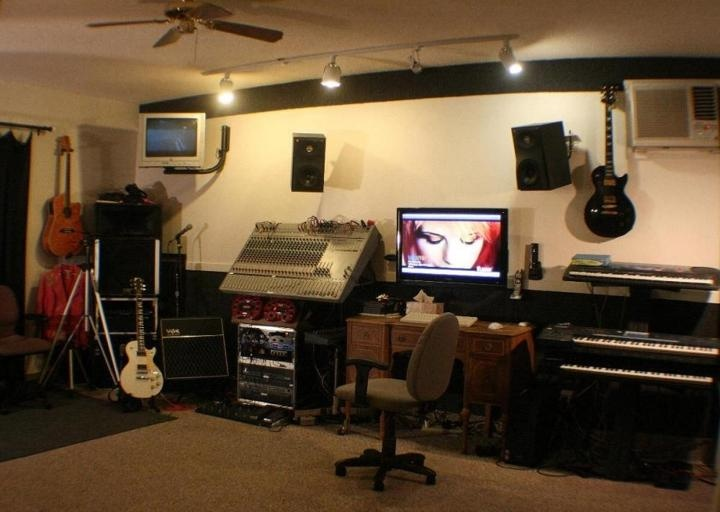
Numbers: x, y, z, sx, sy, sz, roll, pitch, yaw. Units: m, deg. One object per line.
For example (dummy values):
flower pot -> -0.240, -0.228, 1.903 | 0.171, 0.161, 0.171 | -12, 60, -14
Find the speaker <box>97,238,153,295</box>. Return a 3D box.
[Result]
speaker -> -2.749, 0.135, 7.390 | 0.637, 0.614, 0.301 | 1, -5, -15

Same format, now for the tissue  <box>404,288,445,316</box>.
tissue  -> 0.643, 0.443, 6.437 | 0.281, 0.173, 0.281 | 1, 0, 30

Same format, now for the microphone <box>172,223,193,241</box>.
microphone -> -2.243, -0.306, 8.131 | 0.333, 0.075, 0.076 | -36, -18, 21

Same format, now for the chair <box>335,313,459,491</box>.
chair -> 0.301, 1.170, 5.377 | 0.904, 1.446, 0.618 | 4, 12, 17

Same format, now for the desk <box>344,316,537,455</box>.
desk -> 0.751, 1.167, 5.851 | 1.314, 0.826, 0.494 | 2, 2, 29

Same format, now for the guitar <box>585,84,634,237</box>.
guitar -> 2.438, -0.898, 6.138 | 0.467, 1.450, 0.298 | 5, 12, 19

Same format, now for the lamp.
lamp -> -0.043, -1.904, 6.606 | 3.300, 0.586, 1.016 | 4, 12, 15

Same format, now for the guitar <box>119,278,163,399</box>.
guitar -> -2.388, 0.962, 6.898 | 0.420, 1.325, 0.841 | -4, 12, -20

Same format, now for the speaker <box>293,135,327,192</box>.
speaker -> -0.564, -1.015, 6.948 | 0.347, 0.602, 0.136 | 2, 11, 6
